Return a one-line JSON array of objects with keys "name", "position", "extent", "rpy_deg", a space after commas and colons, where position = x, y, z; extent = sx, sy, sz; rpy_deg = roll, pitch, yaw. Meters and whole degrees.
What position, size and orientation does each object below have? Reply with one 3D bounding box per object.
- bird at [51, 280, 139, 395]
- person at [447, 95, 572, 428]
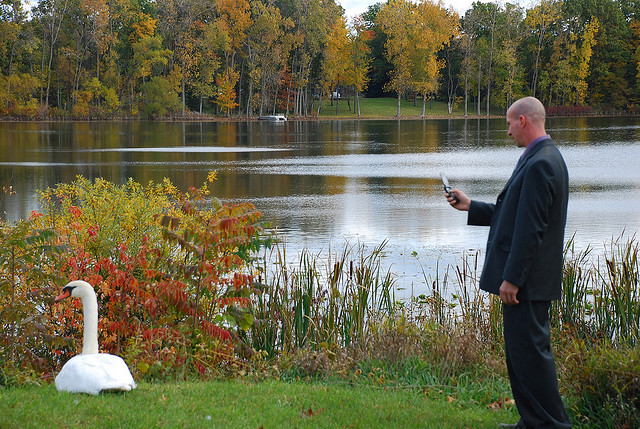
[{"name": "bird", "position": [-2.830, 1.536, 10.956], "extent": [0.916, 1.376, 1.472], "rpy_deg": [-1, 3, -40]}, {"name": "person", "position": [2.455, 0.570, 10.268], "extent": [0.953, 3.881, 0.388], "rpy_deg": [0, 1, 13]}]
